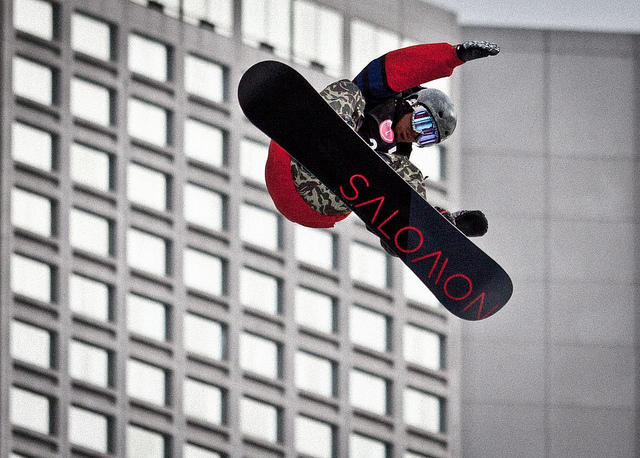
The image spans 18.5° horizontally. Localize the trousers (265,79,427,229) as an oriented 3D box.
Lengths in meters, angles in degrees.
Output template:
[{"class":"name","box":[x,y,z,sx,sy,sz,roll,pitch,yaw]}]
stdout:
[{"class":"trousers","box":[0.154,-0.703,15.868,1.122,1.239,0.847,-4,-3,-19]}]
